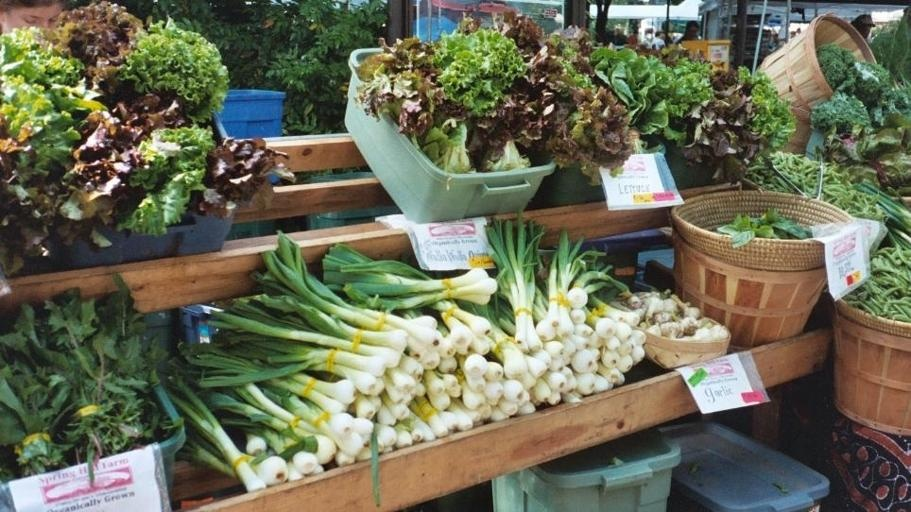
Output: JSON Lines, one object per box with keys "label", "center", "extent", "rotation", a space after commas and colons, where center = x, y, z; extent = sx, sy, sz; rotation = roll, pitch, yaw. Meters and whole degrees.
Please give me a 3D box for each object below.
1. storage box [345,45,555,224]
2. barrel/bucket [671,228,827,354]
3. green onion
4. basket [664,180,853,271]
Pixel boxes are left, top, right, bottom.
{"label": "storage box", "center": [0.003, -0.629, 3.515], "extent": [0.782, 0.385, 1.129], "rotation": [-5, 41, -24]}
{"label": "barrel/bucket", "center": [1.684, 0.062, 3.700], "extent": [0.844, 0.618, 0.918], "rotation": [-1, 17, 0]}
{"label": "green onion", "center": [-0.248, 0.362, 3.005], "extent": [2.196, 0.834, 0.899], "rotation": [-10, 29, -22]}
{"label": "basket", "center": [1.678, -0.164, 3.367], "extent": [0.910, 0.483, 0.260], "rotation": [4, 3, -4]}
